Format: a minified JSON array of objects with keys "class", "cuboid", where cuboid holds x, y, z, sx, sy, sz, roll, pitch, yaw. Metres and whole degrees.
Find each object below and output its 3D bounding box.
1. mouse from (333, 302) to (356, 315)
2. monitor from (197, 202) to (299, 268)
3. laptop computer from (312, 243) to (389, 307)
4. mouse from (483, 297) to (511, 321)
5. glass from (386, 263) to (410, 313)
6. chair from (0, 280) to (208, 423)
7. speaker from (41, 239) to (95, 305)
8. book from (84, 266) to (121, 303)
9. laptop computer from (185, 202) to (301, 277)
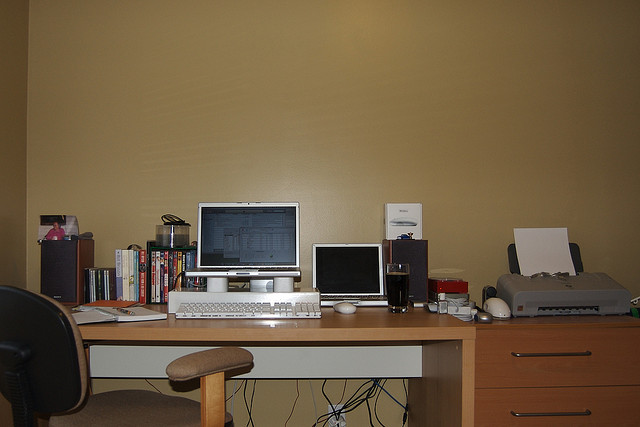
[{"class":"mouse","cuboid":[0.143,0.553,3.166,0.125,0.066,0.069,-1,-6,5]},{"class":"monitor","cuboid":[-0.436,0.139,3.358,0.650,0.423,0.025,0,-2,11]},{"class":"laptop computer","cuboid":[0.181,0.363,3.267,0.472,0.334,0.381,0,0,-8]},{"class":"mouse","cuboid":[1.017,0.546,3.106,0.090,0.072,0.138,2,10,2]},{"class":"glass","cuboid":[0.452,0.439,3.194,0.135,0.283,0.123,-1,-5,13]},{"class":"chair","cuboid":[-1.158,0.640,2.899,0.877,1.050,0.814,2,-3,-34]},{"class":"speaker","cuboid":[-1.556,0.360,3.368,0.298,0.406,0.107,3,-6,-29]},{"class":"book","cuboid":[-1.348,0.430,3.440,0.200,0.293,0.214,2,1,-10]},{"class":"laptop computer","cuboid":[-0.435,0.146,3.213,0.628,0.425,0.334,0,0,-4]}]
